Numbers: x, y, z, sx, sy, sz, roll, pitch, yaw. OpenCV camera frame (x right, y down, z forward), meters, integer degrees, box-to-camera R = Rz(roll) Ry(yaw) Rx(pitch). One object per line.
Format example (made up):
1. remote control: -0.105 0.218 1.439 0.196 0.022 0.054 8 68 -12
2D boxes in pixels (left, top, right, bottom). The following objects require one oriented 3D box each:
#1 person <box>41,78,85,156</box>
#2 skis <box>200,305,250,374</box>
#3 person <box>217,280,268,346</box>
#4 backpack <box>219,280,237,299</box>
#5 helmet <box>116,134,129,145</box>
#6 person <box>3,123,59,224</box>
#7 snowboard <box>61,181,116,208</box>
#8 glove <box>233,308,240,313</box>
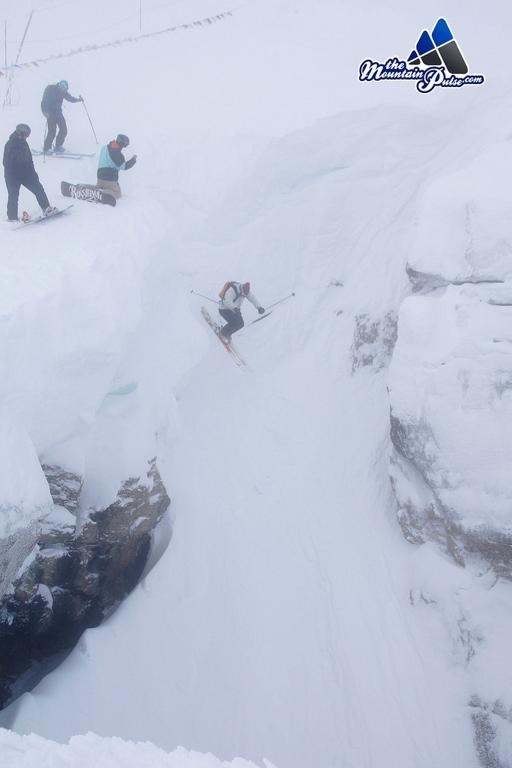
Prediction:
1. person: -3.377 -4.727 14.253 0.773 1.238 0.566 11 41 -2
2. skis: -0.582 -0.736 14.039 0.192 1.283 0.217 -33 16 1
3. person: -0.244 -1.225 13.791 0.714 1.030 0.655 0 12 -20
4. backpack: -0.475 -1.551 13.578 0.289 0.317 0.229 3 49 -15
5. helmet: -2.245 -4.082 13.651 0.189 0.208 0.127 -15 39 2
6. person: -3.750 -3.452 13.538 1.100 1.939 0.702 -3 51 -21
7. snowboard: -2.852 -3.221 13.802 1.171 0.356 0.205 6 16 -9
8. glove: -0.334 -1.240 13.706 0.082 0.079 0.020 -1 4 -28
